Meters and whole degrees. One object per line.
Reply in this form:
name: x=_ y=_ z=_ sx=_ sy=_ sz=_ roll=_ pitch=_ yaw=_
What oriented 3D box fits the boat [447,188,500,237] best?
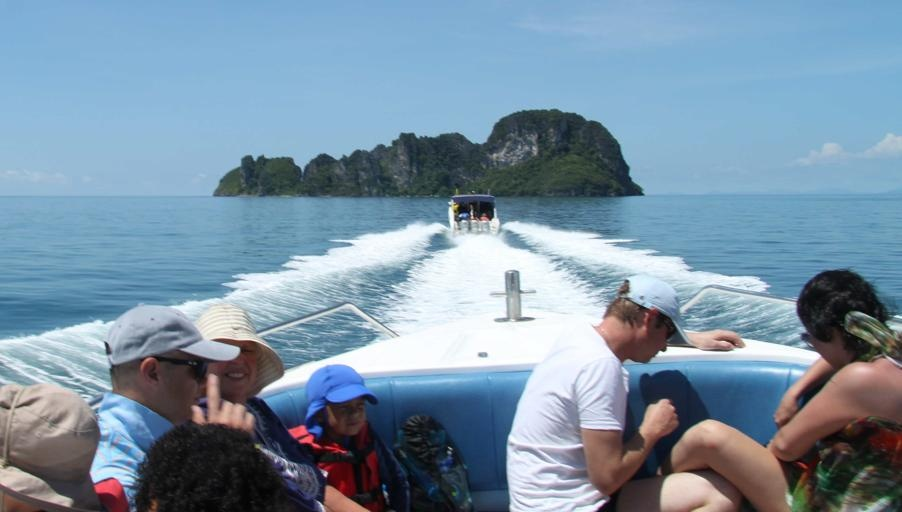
boat: x=0.939 y=-1.774 z=25.021 sx=1.872 sy=1.634 sz=2.840 roll=-2 pitch=5 yaw=3

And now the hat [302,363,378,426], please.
hat: x=-0.578 y=0.657 z=3.261 sx=0.378 sy=0.188 sz=0.283 roll=-4 pitch=-7 yaw=36

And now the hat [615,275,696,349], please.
hat: x=1.056 y=0.222 z=3.205 sx=0.447 sy=0.216 sz=0.293 roll=25 pitch=0 yaw=-20

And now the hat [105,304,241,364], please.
hat: x=-1.243 y=0.337 z=2.761 sx=0.586 sy=0.211 sz=0.355 roll=-5 pitch=4 yaw=-29
